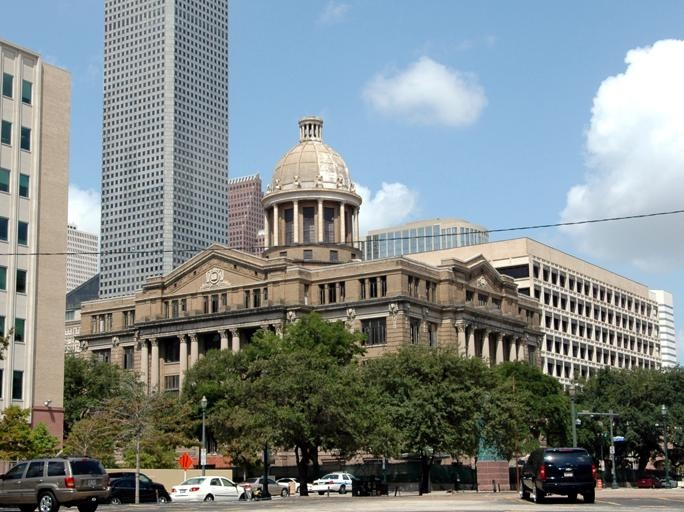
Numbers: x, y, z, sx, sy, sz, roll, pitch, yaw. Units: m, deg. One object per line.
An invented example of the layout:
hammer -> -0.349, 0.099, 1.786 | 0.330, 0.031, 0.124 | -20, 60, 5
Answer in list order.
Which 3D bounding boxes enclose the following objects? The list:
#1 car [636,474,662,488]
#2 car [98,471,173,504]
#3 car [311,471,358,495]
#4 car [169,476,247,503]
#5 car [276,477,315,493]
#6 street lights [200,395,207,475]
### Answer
car -> 31.429, 22.844, 140.746 | 1.245, 1.001, 2.771 | -3, -5, 31
car -> -15.240, 17.393, 102.881 | 4.549, 2.267, 2.372 | 0, -5, -23
car -> -0.830, 20.351, 123.892 | 3.350, 2.091, 2.616 | -3, -15, 5
car -> -10.452, 18.004, 106.735 | 4.661, 1.565, 2.237 | -1, -3, -25
car -> -4.083, 21.565, 129.203 | 3.805, 1.326, 1.746 | -5, -8, 26
street lights -> -11.759, 14.712, 116.000 | 0.812, 5.416, 0.809 | 2, -11, -17
